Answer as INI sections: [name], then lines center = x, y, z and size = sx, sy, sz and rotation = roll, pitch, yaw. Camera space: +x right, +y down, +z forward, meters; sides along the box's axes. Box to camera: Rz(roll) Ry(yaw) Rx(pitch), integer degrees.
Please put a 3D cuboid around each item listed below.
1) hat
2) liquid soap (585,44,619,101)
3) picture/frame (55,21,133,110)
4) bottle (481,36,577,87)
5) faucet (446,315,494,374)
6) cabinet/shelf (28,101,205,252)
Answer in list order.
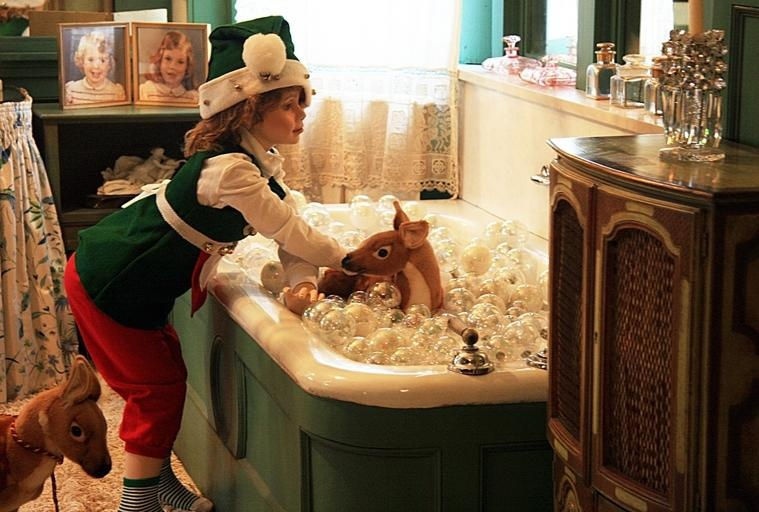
[hat]
center = -0.354, -0.535, 1.811
size = 0.266, 0.286, 0.199
rotation = 5, 14, 21
[liquid soap]
center = 0.800, -0.654, 2.247
size = 0.145, 0.174, 0.129
rotation = -13, 24, -23
[picture/frame]
center = -1.284, -0.856, 2.855
size = 0.462, 0.344, 0.045
rotation = -7, 9, -39
[bottle]
center = 0.616, -0.790, 2.656
size = 0.259, 0.123, 0.380
rotation = -10, 21, -36
[faucet]
center = 0.204, 0.197, 1.432
size = 0.113, 0.108, 0.114
rotation = 8, 15, 42
[cabinet/shelf]
center = -1.273, -0.240, 3.064
size = 0.907, 0.765, 0.367
rotation = 5, 13, -39
